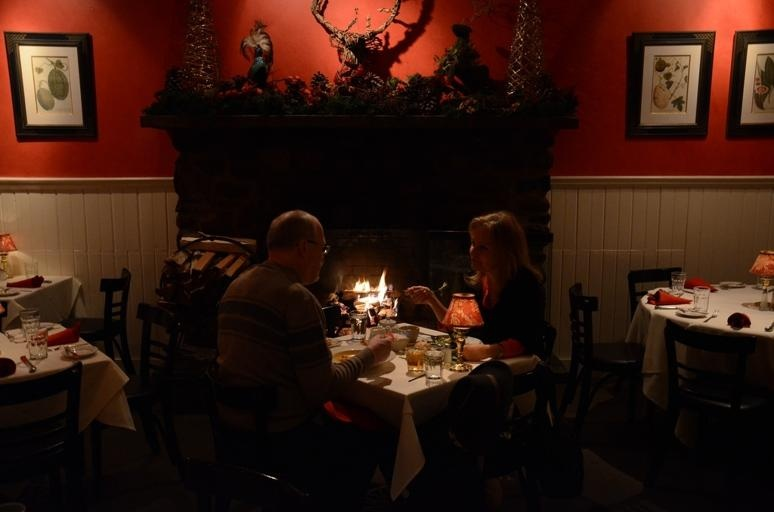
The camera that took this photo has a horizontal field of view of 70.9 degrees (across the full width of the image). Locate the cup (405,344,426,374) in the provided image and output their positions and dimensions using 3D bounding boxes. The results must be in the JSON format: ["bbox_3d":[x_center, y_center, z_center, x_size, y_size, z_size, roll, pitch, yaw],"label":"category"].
[{"bbox_3d":[0.180,0.643,3.433,0.149,0.165,0.147,0,-1,0],"label":"cup"}]

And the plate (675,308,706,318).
[{"bbox_3d":[2.503,0.464,4.456,0.216,0.036,0.239,6,9,36],"label":"plate"}]

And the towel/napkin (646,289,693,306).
[{"bbox_3d":[2.476,0.373,4.769,0.228,0.083,0.197,0,-1,0],"label":"towel/napkin"}]

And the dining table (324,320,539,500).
[{"bbox_3d":[0.161,0.874,3.344,1.057,0.427,1.074,7,13,35],"label":"dining table"}]

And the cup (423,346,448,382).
[{"bbox_3d":[0.311,0.689,3.446,0.172,0.207,0.179,2,-12,0],"label":"cup"}]

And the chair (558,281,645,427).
[{"bbox_3d":[1.978,0.849,4.835,0.696,1.025,0.663,4,9,35],"label":"chair"}]

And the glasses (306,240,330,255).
[{"bbox_3d":[-0.437,-0.069,3.320,0.102,0.031,0.100,16,1,23],"label":"glasses"}]

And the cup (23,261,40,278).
[{"bbox_3d":[-3.902,0.143,5.932,0.168,0.202,0.211,0,-5,3],"label":"cup"}]

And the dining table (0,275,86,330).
[{"bbox_3d":[-3.413,0.443,5.400,0.531,0.227,0.859,2,4,17],"label":"dining table"}]

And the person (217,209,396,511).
[{"bbox_3d":[-0.536,0.654,3.241,0.936,1.821,0.390,-2,8,-19],"label":"person"}]

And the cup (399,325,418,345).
[{"bbox_3d":[0.152,0.560,3.887,0.113,0.088,0.114,0,-1,0],"label":"cup"}]

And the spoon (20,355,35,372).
[{"bbox_3d":[-2.456,0.720,3.683,0.066,0.040,0.278,-16,22,-39],"label":"spoon"}]

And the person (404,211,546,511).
[{"bbox_3d":[0.636,0.274,4.037,0.905,1.064,0.627,-1,-16,21],"label":"person"}]

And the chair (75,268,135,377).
[{"bbox_3d":[-2.940,0.691,5.386,0.580,1.010,0.628,-3,-4,42],"label":"chair"}]

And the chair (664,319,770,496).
[{"bbox_3d":[2.541,1.086,4.178,0.741,1.238,0.825,6,9,32],"label":"chair"}]

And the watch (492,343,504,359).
[{"bbox_3d":[0.740,0.630,3.593,0.079,0.078,0.058,10,-12,-38],"label":"watch"}]
